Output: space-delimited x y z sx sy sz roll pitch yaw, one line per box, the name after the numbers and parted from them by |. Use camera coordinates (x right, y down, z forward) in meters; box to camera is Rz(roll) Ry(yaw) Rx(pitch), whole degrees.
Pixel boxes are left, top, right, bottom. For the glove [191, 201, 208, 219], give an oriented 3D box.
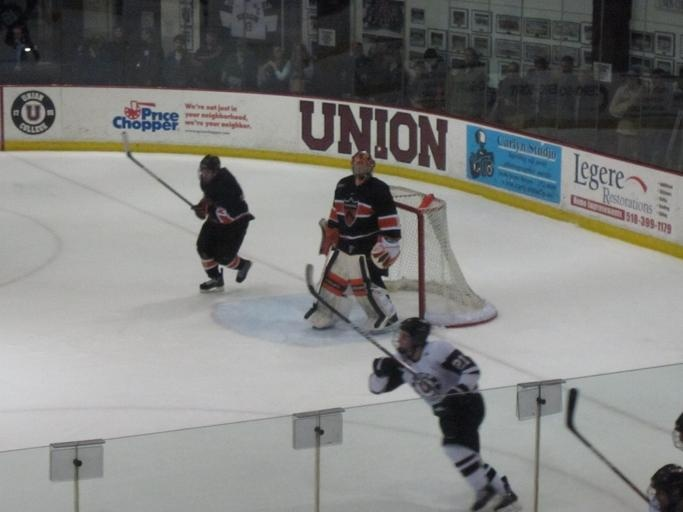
-1.339 -0.461 9.606 0.145 0.149 0.171 -8 27 -20 | glove

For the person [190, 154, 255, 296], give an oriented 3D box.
-1.137 -0.341 9.589 0.568 1.226 0.618 -2 18 -7 | person

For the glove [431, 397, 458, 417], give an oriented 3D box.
0.581 0.861 5.731 0.132 0.113 0.019 -3 18 -13 | glove

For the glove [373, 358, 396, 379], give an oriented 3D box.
0.296 0.794 7.130 0.119 0.112 0.153 1 9 2 | glove

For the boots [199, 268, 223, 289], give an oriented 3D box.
-1.238 0.199 9.532 0.232 0.219 0.190 -3 18 -11 | boots

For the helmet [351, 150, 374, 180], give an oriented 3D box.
0.174 -0.790 8.558 0.182 0.216 0.187 1 17 0 | helmet

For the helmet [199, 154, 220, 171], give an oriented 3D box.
-1.244 -0.897 9.626 0.168 0.191 0.203 8 29 0 | helmet
